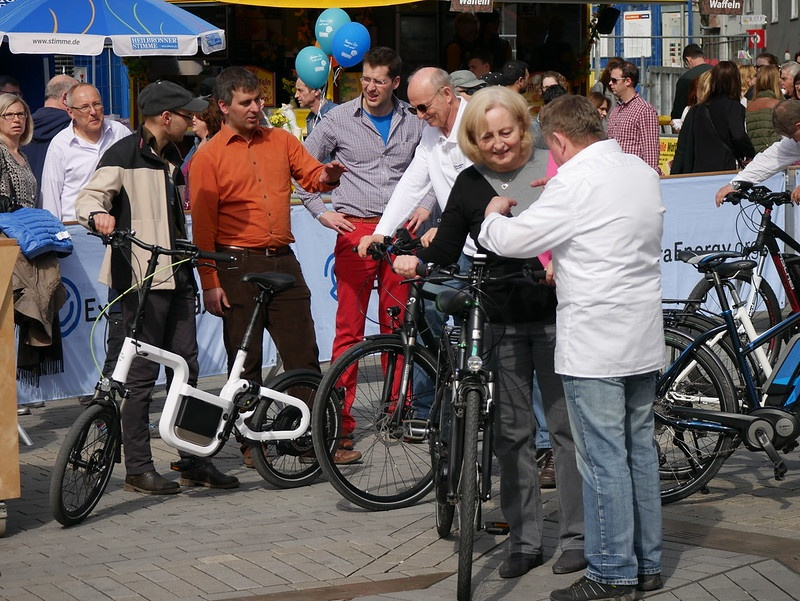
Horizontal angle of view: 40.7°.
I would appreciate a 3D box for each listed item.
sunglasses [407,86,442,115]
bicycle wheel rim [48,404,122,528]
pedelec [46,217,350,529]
[{"bbox_3d":[0.179,-1.368,7.453,0.161,0.050,0.166,-3,39,53],"label":"sunglasses"},{"bbox_3d":[-2.044,1.018,6.938,0.243,0.772,0.593,8,16,39],"label":"bicycle wheel rim"},{"bbox_3d":[-1.391,0.494,7.369,1.076,1.740,2.560,14,10,41],"label":"pedelec"}]
